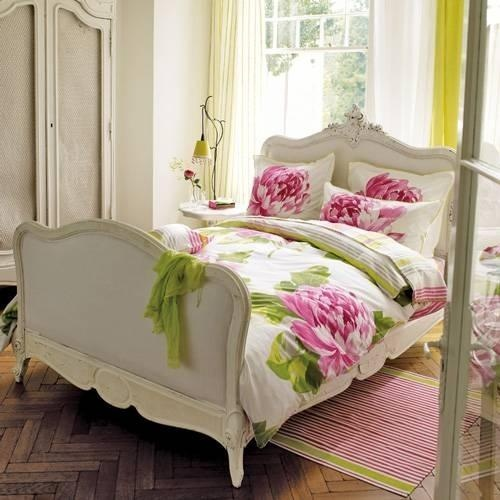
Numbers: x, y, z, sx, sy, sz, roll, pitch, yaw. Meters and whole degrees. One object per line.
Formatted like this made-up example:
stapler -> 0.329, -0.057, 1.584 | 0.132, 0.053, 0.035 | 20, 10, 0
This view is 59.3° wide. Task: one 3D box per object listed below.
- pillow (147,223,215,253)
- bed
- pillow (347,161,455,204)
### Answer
pillow -> -0.385, -0.067, 2.357 | 0.178, 0.107, 0.191 | 19, 7, 14
bed -> -0.057, 0.099, 2.207 | 1.137, 1.208, 1.556 | 9, 13, 38
pillow -> 1.039, -0.447, 2.957 | 0.477, 0.352, 0.081 | 13, -3, 30
